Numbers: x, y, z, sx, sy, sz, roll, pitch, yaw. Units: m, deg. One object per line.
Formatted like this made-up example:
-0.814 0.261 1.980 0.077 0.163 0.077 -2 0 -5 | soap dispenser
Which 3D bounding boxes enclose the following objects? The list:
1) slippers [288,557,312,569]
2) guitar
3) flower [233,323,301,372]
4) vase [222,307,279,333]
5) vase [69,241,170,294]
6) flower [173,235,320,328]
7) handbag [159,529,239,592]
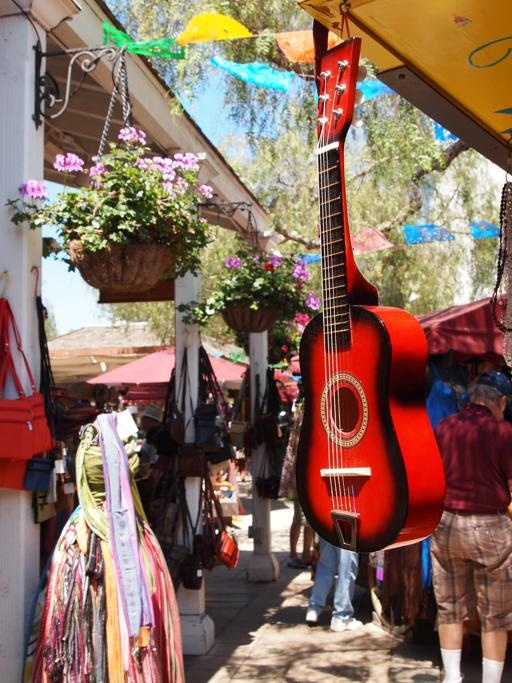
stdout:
0.384 2.016 7.711 0.256 0.077 0.084 1 -8 -7 | slippers
0.314 -0.140 2.729 0.439 1.589 0.298 -3 -3 5 | guitar
0.115 0.052 9.853 0.706 0.627 0.513 0 -6 -3 | flower
-0.094 -0.169 6.472 0.259 0.116 0.260 -9 -11 43 | vase
-0.648 -0.344 3.920 0.481 0.192 0.444 1 -2 -19 | vase
-0.025 -0.441 6.349 0.864 0.441 0.702 0 6 -5 | flower
-0.359 1.336 5.268 0.416 0.278 0.166 -6 -16 -26 | handbag
